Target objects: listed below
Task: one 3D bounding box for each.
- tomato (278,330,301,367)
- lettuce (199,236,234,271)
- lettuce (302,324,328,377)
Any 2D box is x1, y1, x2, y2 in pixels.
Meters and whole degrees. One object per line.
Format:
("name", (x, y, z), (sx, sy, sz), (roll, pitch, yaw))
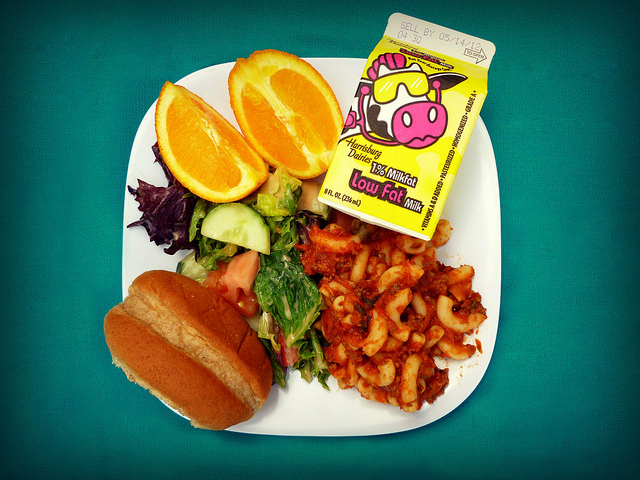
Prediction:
("tomato", (-0.252, 0.882, 4.484), (0.144, 0.064, 0.294), (-4, 102, 7))
("lettuce", (-0.840, 0.095, 4.510), (0.229, 0.089, 0.264), (22, 83, 6))
("lettuce", (-0.032, 0.874, 4.539), (0.147, 0.058, 0.445), (-12, 90, 4))
